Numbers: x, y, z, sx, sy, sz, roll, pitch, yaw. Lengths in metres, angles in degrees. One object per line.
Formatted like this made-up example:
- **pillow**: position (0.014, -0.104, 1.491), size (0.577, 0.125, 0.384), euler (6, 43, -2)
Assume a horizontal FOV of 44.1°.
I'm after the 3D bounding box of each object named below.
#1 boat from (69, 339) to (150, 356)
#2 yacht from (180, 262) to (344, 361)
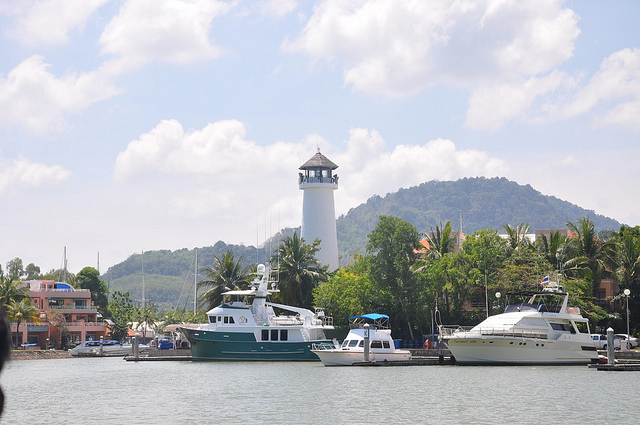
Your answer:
- **boat**: position (-29.622, 18.459, 107.298), size (7.665, 2.112, 5.154), euler (6, -14, -38)
- **yacht**: position (-5.782, 10.515, 81.360), size (16.969, 9.514, 5.441), euler (1, -13, -5)
